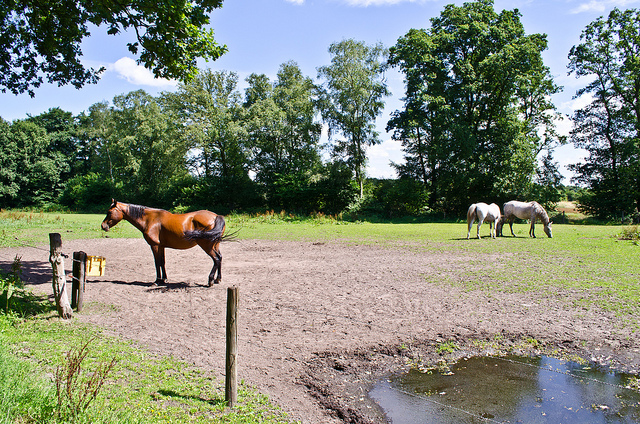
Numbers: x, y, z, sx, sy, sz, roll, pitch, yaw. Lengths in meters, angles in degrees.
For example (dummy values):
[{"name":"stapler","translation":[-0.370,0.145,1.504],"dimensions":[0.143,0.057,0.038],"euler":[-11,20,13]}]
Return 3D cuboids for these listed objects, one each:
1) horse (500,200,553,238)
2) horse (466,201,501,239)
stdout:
[{"name":"horse","translation":[13.237,0.483,31.580],"dimensions":[0.937,2.578,3.801],"euler":[0,10,-37]},{"name":"horse","translation":[10.448,0.407,30.786],"dimensions":[3.704,2.580,1.009],"euler":[4,0,-38]}]
